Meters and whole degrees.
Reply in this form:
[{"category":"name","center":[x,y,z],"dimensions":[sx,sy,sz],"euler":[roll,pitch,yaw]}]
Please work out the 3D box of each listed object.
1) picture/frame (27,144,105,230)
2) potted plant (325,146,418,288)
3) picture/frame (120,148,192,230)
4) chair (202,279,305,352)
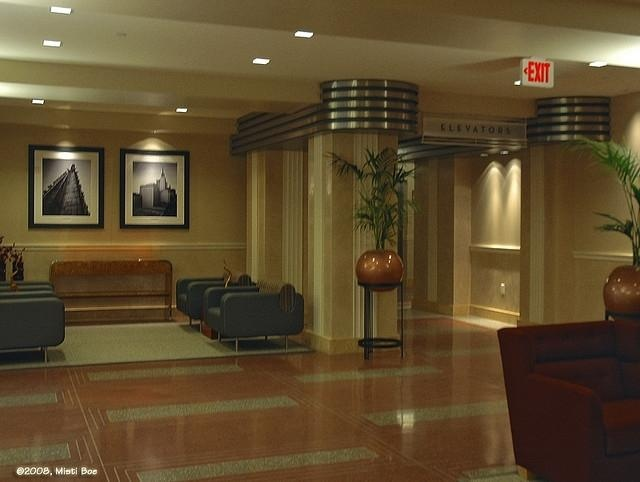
[{"category":"picture/frame","center":[-5.659,-1.213,10.679],"dimensions":[1.676,2.177,0.094],"euler":[0,-1,-21]},{"category":"potted plant","center":[0.892,-0.261,8.289],"dimensions":[1.855,2.794,1.916],"euler":[1,-6,-5]},{"category":"picture/frame","center":[-3.874,-1.223,11.234],"dimensions":[1.639,2.089,0.088],"euler":[-2,4,-17]},{"category":"chair","center":[-1.084,1.195,8.151],"dimensions":[1.089,1.013,1.537],"euler":[2,-3,-19]}]
